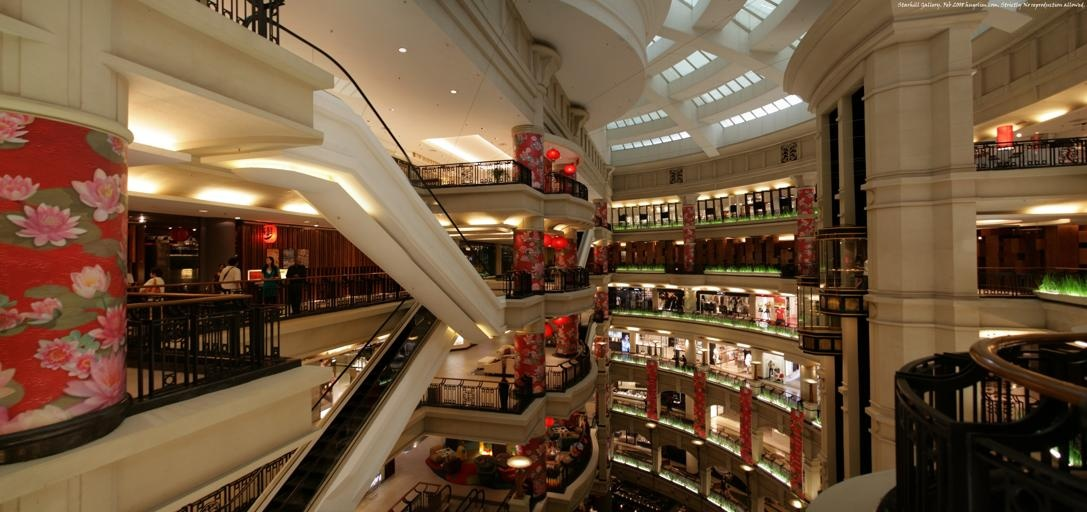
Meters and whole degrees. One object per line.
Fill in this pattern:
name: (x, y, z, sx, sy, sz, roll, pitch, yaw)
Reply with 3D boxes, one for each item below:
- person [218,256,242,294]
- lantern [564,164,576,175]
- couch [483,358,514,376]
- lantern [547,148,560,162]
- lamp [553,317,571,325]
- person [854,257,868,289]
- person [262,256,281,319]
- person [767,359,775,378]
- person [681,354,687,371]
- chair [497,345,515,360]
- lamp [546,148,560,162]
person: (-8.858, 0.569, 17.448, 0.651, 0.901, 1.172, -2, 7, -44)
lantern: (1.081, -3.267, 23.616, 0.530, 0.475, 0.484, -1, 5, -7)
couch: (-1.655, 4.059, 22.965, 1.111, 0.582, 2.258, -5, -1, -5)
lantern: (0.355, -3.607, 22.451, 0.567, 0.437, 0.489, 4, -1, 3)
lamp: (0.727, 2.671, 25.346, 0.785, 0.428, 0.681, 1, -1, 9)
person: (9.153, 0.531, 17.795, 0.179, 0.968, 0.334, -6, -1, -42)
person: (-7.916, 0.666, 17.861, 0.487, 1.371, 1.712, -6, 0, -24)
person: (11.340, 5.567, 30.695, 0.392, 0.884, 0.475, -7, -1, 27)
person: (7.196, 5.457, 31.588, 0.306, 0.690, 0.913, -7, -1, 14)
chair: (-1.527, 3.992, 25.859, 0.840, 0.720, 0.640, 2, -3, -4)
lamp: (0.331, -3.634, 22.434, 0.568, 0.438, 0.490, 3, -3, -5)
